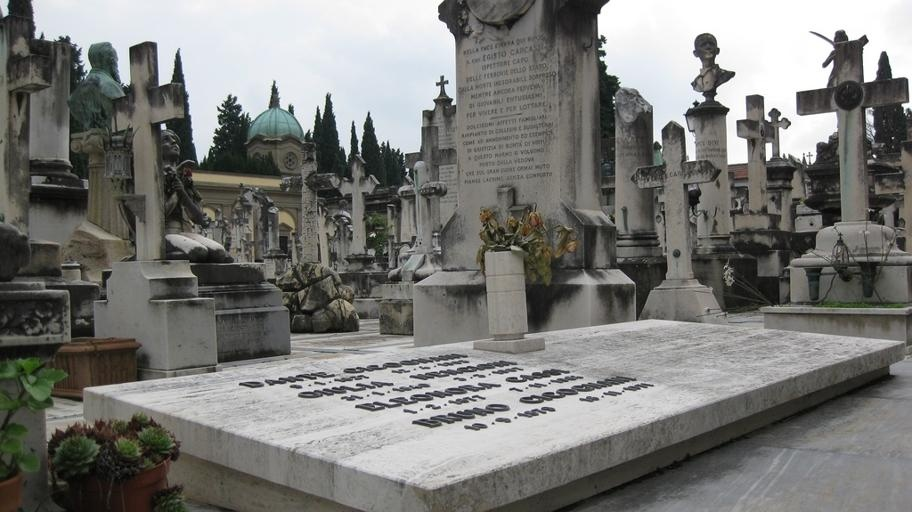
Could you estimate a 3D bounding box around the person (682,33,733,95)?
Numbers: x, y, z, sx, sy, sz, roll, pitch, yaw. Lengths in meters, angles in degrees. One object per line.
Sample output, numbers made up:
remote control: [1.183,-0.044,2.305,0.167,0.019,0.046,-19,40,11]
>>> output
person: [5.419,-3.983,17.914,0.685,1.364,0.742,2,14,10]

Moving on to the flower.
flower: [0.988,-0.097,10.485,0.756,0.811,1.137,-22,13,-35]

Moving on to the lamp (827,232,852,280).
lamp: [5.908,0.027,12.971,0.333,0.698,0.361,5,15,21]
